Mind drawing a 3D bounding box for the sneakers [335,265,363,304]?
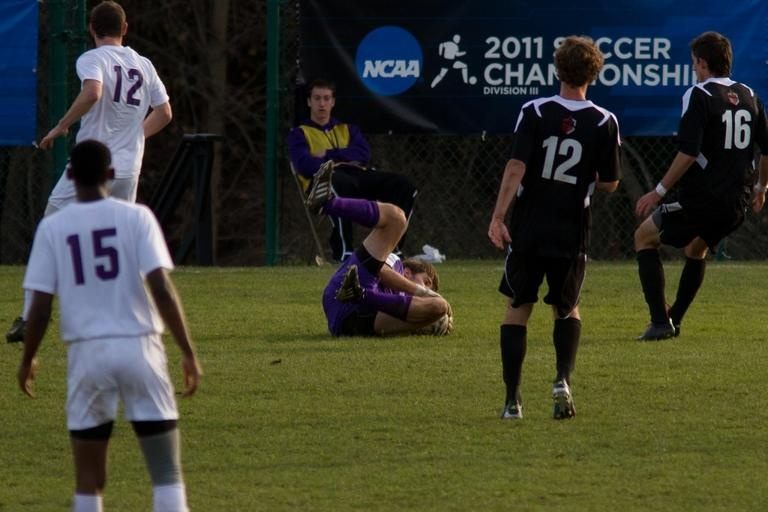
[{"bbox_3d":[-0.289,0.232,11.949,0.145,0.170,0.398,6,-33,-6],"label":"sneakers"}]

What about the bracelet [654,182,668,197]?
[{"bbox_3d":[2.391,-0.576,12.102,0.115,0.134,0.147,-6,-3,19],"label":"bracelet"}]

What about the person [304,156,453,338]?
[{"bbox_3d":[0.007,-0.054,12.403,1.215,1.498,0.846,1,6,-21],"label":"person"}]

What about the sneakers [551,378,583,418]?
[{"bbox_3d":[1.378,1.052,10.556,0.128,0.328,0.167,-7,42,8],"label":"sneakers"}]

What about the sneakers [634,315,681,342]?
[{"bbox_3d":[2.431,0.616,12.258,0.411,0.170,0.151,-10,-7,-10],"label":"sneakers"}]

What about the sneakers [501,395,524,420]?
[{"bbox_3d":[0.981,1.147,10.639,0.242,0.210,0.134,2,-8,-6],"label":"sneakers"}]
